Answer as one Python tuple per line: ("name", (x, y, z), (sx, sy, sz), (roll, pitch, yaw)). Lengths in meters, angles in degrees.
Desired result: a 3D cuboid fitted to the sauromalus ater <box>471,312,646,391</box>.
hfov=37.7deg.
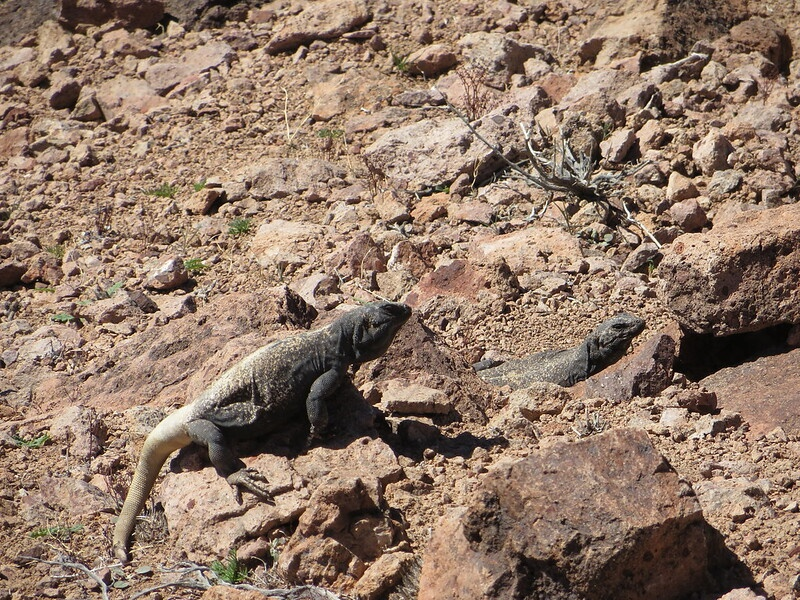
("sauromalus ater", (1.290, 0.552, 11.387), (2.041, 0.743, 0.624), (-7, 27, 15))
